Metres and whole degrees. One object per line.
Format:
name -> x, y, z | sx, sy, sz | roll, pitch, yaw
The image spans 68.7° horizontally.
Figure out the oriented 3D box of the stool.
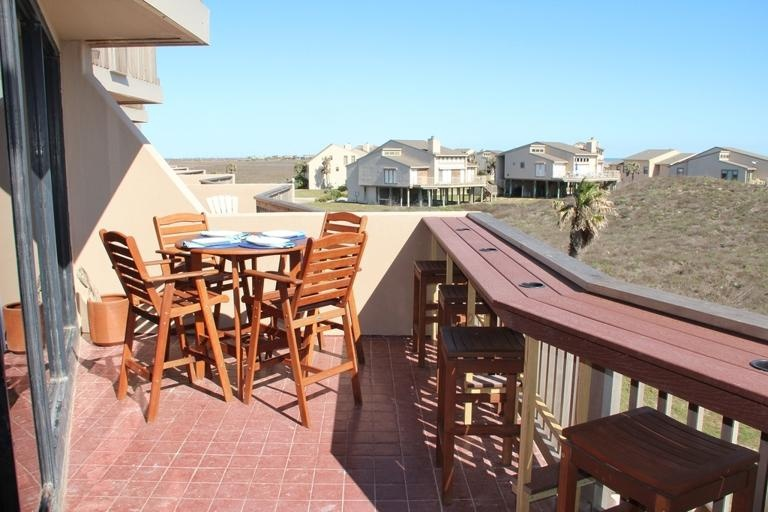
stool -> 0.976, 0.752, 3.129 | 0.604, 0.851, 1.684 | 0, 7, -4
